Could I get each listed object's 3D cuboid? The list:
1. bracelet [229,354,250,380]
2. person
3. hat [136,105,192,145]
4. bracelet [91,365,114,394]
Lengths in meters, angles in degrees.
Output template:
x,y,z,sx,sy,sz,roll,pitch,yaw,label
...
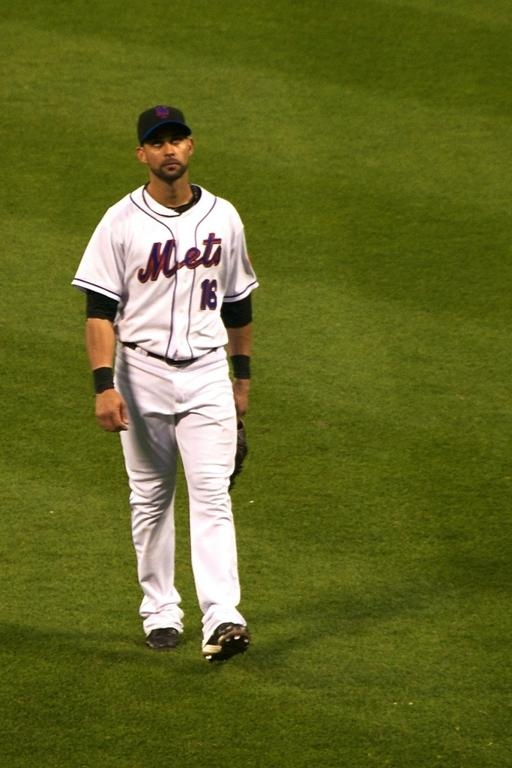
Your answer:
x,y,z,sx,sy,sz,roll,pitch,yaw,label
-0.075,-0.068,4.519,0.080,0.086,0.090,-1,-4,19,bracelet
-0.325,0.029,4.197,0.666,1.967,0.822,4,15,-1,person
-0.322,-0.889,4.098,0.178,0.139,0.156,6,14,11,hat
-0.521,-0.012,4.069,0.090,0.087,0.087,-18,-14,30,bracelet
